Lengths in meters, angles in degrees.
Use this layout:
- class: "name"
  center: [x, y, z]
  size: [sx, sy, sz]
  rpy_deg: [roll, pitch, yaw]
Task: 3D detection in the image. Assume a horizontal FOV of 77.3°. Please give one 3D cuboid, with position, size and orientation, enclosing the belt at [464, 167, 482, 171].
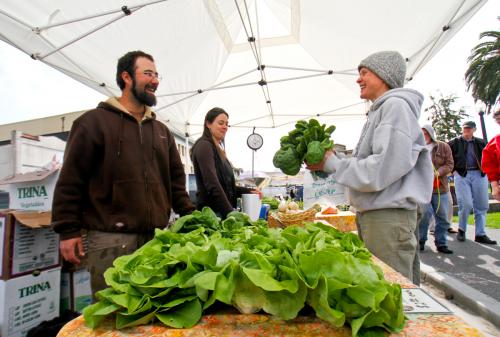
- class: "belt"
  center: [5.238, 0.039, 7.322]
  size: [0.293, 0.103, 0.035]
  rpy_deg: [-8, -6, 27]

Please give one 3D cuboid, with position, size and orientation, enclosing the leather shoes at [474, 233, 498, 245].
- class: "leather shoes"
  center: [5.398, 1.654, 7.230]
  size: [0.176, 0.186, 0.466]
  rpy_deg: [5, -10, -18]

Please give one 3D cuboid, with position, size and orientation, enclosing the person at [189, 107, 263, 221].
- class: "person"
  center: [-0.422, -0.106, 4.543]
  size: [0.731, 1.636, 0.790]
  rpy_deg: [-9, -6, 35]

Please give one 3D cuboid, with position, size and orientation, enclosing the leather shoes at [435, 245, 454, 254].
- class: "leather shoes"
  center: [4.160, 1.742, 6.700]
  size: [0.126, 0.123, 0.287]
  rpy_deg: [6, -10, -44]

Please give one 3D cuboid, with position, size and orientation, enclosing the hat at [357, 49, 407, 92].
- class: "hat"
  center: [1.484, -1.024, 3.518]
  size: [0.455, 0.362, 0.444]
  rpy_deg: [4, 0, 24]

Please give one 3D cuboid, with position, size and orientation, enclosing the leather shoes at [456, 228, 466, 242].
- class: "leather shoes"
  center: [4.963, 1.563, 7.362]
  size: [0.160, 0.234, 0.167]
  rpy_deg: [-7, -5, 18]
